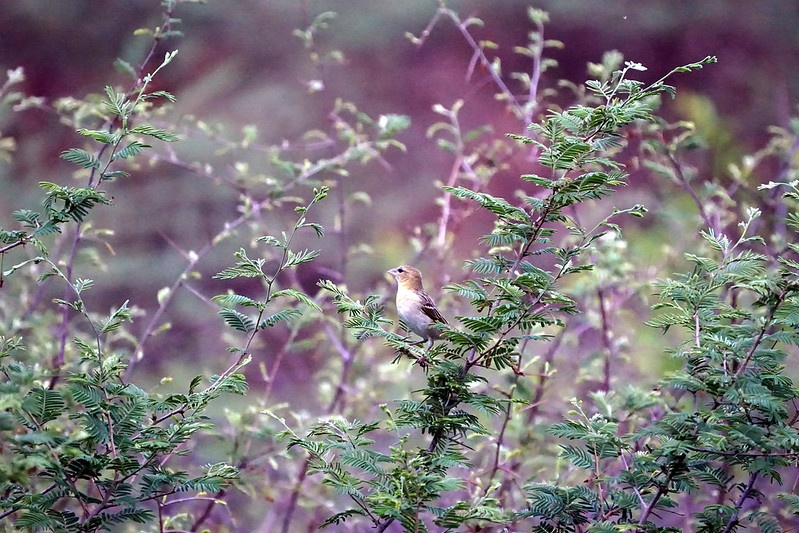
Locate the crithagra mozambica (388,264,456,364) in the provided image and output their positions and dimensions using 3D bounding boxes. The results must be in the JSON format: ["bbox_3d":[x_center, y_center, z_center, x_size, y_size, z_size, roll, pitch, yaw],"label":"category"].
[{"bbox_3d":[0.132,0.272,6.149,0.311,0.553,0.612,-13,2,1],"label":"crithagra mozambica"}]
